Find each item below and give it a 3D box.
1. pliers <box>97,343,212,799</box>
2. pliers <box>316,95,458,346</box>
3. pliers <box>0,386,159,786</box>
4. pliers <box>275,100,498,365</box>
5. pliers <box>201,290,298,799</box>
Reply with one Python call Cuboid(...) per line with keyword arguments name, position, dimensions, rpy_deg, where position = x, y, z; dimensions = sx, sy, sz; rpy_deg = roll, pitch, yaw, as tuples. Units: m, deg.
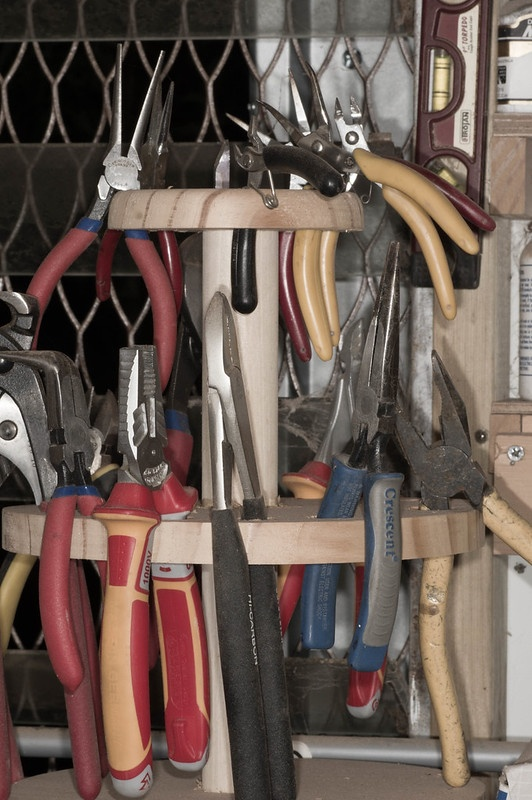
Cuboid(name="pliers", position=(-0.077, 0.099, 0.549), dimensions=(0.071, 0.273, 0.179), rpy_deg=(-5, 9, -6))
Cuboid(name="pliers", position=(0.081, -0.105, 0.510), dimensions=(0.049, 0.170, 0.033), rpy_deg=(-19, 28, 11))
Cuboid(name="pliers", position=(-0.116, 0.061, 0.560), dimensions=(0.079, 0.342, 0.052), rpy_deg=(-9, -5, 40))
Cuboid(name="pliers", position=(0.063, -0.093, 0.517), dimensions=(0.115, 0.181, 0.041), rpy_deg=(-16, 16, 9))
Cuboid(name="pliers", position=(-0.017, 0.095, 0.515), dimensions=(0.045, 0.328, 0.023), rpy_deg=(-8, -4, 29))
